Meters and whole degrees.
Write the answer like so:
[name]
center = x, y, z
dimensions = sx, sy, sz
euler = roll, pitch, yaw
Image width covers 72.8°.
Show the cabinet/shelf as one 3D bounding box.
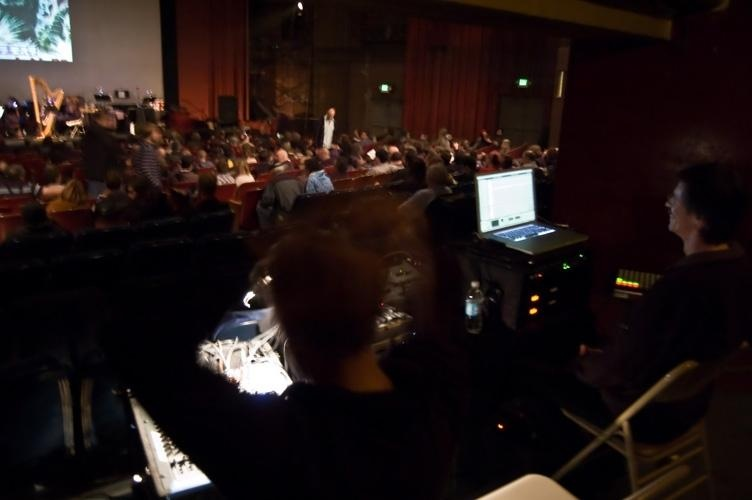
[cabinet/shelf]
center = 0.997, 0.167, 3.402
dimensions = 0.687, 0.690, 1.057
euler = 11, 21, 36
